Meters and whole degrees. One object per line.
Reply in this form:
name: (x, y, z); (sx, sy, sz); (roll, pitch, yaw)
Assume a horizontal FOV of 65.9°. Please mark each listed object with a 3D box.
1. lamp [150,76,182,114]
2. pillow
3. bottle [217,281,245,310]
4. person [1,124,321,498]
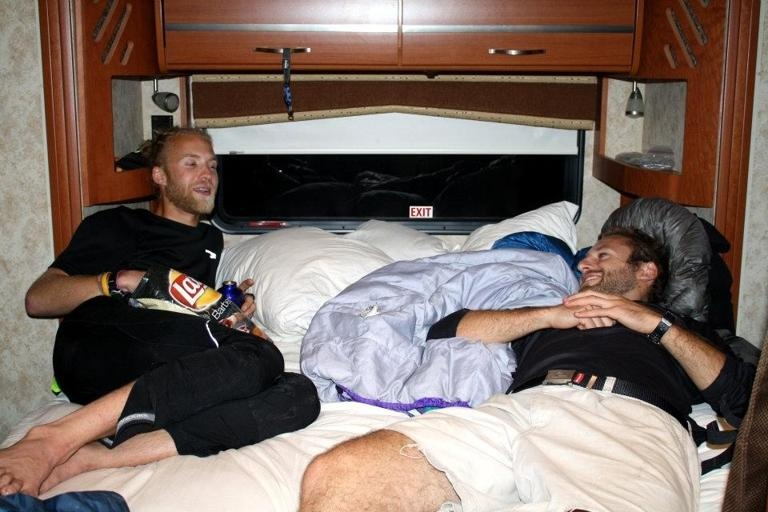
lamp: (-1.355, -1.028, 3.623); (0.159, 0.281, 0.104); (21, 37, 18)
pillow: (0.112, 0.090, 3.244); (1.768, 0.237, 0.813); (-4, 36, -8)
bottle: (-0.714, 0.178, 2.808); (0.141, 0.134, 0.131); (-8, 10, -35)
person: (-0.990, 0.143, 2.505); (1.083, 1.183, 1.128); (-3, 12, -29)
